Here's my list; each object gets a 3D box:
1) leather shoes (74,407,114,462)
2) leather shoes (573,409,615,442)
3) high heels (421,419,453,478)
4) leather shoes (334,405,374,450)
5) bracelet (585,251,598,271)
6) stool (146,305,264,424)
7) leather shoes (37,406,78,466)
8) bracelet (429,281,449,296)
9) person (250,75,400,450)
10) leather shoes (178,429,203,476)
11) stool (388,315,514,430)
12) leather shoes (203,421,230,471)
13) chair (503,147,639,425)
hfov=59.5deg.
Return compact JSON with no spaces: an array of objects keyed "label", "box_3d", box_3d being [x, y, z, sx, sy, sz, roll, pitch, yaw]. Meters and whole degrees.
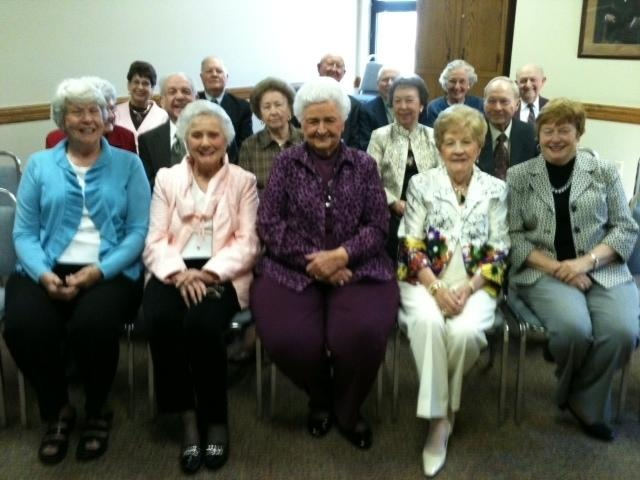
[{"label":"leather shoes","box_3d":[-1.081,0.917,2.671,0.159,0.158,0.210,-7,20,-15]},{"label":"leather shoes","box_3d":[1.325,0.903,2.714,0.069,0.084,0.195,-35,37,-22]},{"label":"high heels","box_3d":[0.544,0.967,2.608,0.090,0.304,0.092,0,-24,31]},{"label":"leather shoes","box_3d":[0.160,0.896,2.716,0.186,0.154,0.166,0,19,4]},{"label":"bracelet","box_3d":[1.343,0.102,2.779,0.052,0.075,0.027,1,-13,-22]},{"label":"stool","box_3d":[-0.549,0.477,2.968,0.461,0.659,0.674,-1,14,3]},{"label":"leather shoes","box_3d":[-1.248,0.896,2.647,0.097,0.115,0.306,0,33,-9]},{"label":"bracelet","box_3d":[0.573,0.236,2.726,0.075,0.065,0.062,-7,19,-15]},{"label":"person","box_3d":[0.017,0.087,2.753,0.738,1.657,0.674,1,18,8]},{"label":"leather shoes","box_3d":[-0.596,0.981,2.568,0.105,0.117,0.137,-6,19,-12]},{"label":"stool","box_3d":[0.669,0.621,2.978,0.477,0.461,0.577,0,8,2]},{"label":"leather shoes","box_3d":[-0.481,0.952,2.589,0.104,0.150,0.141,-3,19,-5]},{"label":"chair","box_3d":[1.252,0.211,2.822,0.658,1.192,0.609,5,19,18]}]
